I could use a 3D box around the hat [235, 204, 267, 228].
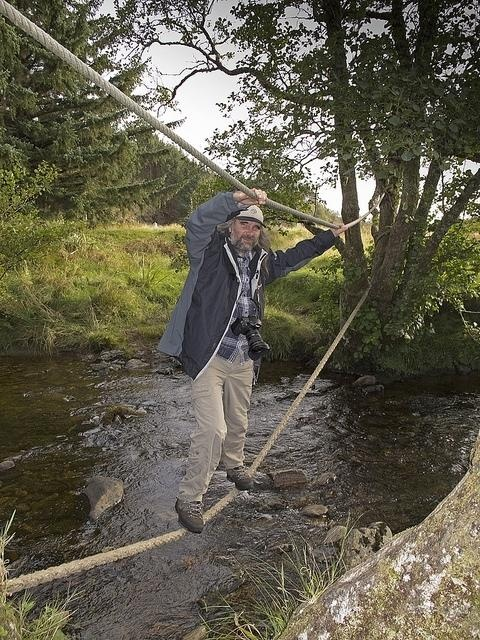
[{"bbox_3d":[0.083,-0.870,4.055,0.207,0.107,0.155,27,13,40],"label":"hat"}]

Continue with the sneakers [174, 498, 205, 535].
[{"bbox_3d":[-0.402,1.582,3.869,0.194,0.305,0.235,-3,10,-19],"label":"sneakers"}]

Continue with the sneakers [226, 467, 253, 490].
[{"bbox_3d":[-0.002,1.497,4.595,0.118,0.137,0.313,1,7,-7],"label":"sneakers"}]

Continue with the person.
[{"bbox_3d":[-0.185,0.301,4.061,0.942,2.648,0.870,-2,10,-16],"label":"person"}]
